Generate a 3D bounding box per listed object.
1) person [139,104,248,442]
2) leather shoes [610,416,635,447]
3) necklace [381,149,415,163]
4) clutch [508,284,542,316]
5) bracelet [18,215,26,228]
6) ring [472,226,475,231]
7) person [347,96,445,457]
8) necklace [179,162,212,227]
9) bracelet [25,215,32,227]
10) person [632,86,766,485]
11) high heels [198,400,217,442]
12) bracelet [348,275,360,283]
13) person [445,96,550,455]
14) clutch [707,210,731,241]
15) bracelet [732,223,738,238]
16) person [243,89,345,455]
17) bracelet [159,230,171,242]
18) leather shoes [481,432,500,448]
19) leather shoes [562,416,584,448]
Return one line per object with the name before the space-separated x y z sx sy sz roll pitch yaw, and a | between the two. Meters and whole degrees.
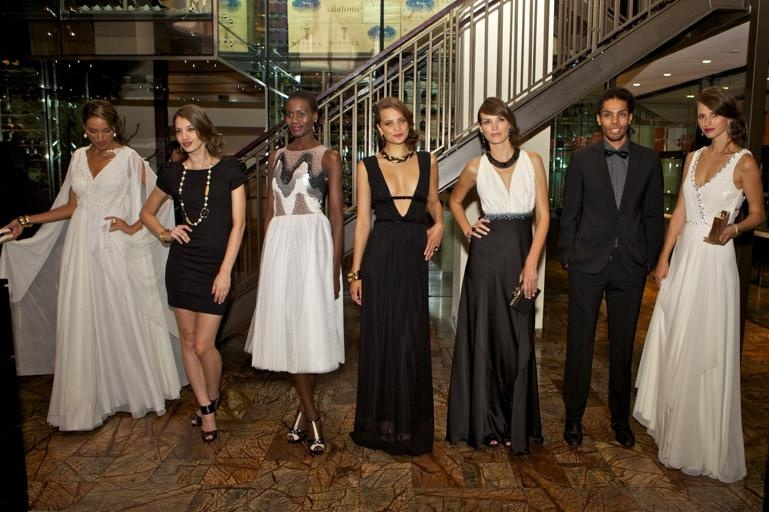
person | -1.534 0.129 4.759 0.784 2.617 0.455 4 11 16
leather shoes | 1.901 1.405 4.702 0.096 0.245 0.310 -6 -1 5
necklace | 0.099 -0.755 4.451 0.244 0.085 0.056 2 11 0
clutch | 1.071 0.328 4.473 0.236 0.212 0.090 -2 11 -16
bracelet | -2.966 -0.281 4.837 0.053 0.087 0.030 3 -20 -23
ring | 0.686 -0.212 4.556 0.023 0.038 0.008 -3 -5 41
person | 0.081 0.166 4.530 0.686 2.692 0.430 2 11 6
necklace | -1.481 -0.458 4.590 0.230 0.508 0.076 1 -1 10
bracelet | -2.929 -0.291 4.854 0.029 0.074 0.055 -7 -3 35
person | 2.365 0.202 4.355 0.778 2.804 0.576 6 12 26
high heels | -1.415 1.332 4.758 0.100 0.152 0.365 -1 32 -11
bracelet | -0.241 0.170 4.554 0.062 0.077 0.060 4 -4 -44
person | 0.899 0.163 4.542 0.765 2.681 0.519 3 11 8
clutch | 2.395 -0.191 4.274 0.057 0.172 0.160 17 7 29
bracelet | 2.582 -0.195 4.335 0.038 0.093 0.174 7 14 30
person | -0.665 -0.185 4.551 0.713 2.109 0.479 2 11 6
bracelet | -1.765 -0.161 4.755 0.082 0.094 0.018 -1 -12 32
leather shoes | 0.840 1.458 4.648 0.096 0.061 0.142 0 -3 22
leather shoes | 1.505 1.408 4.685 0.093 0.111 0.251 1 8 7
